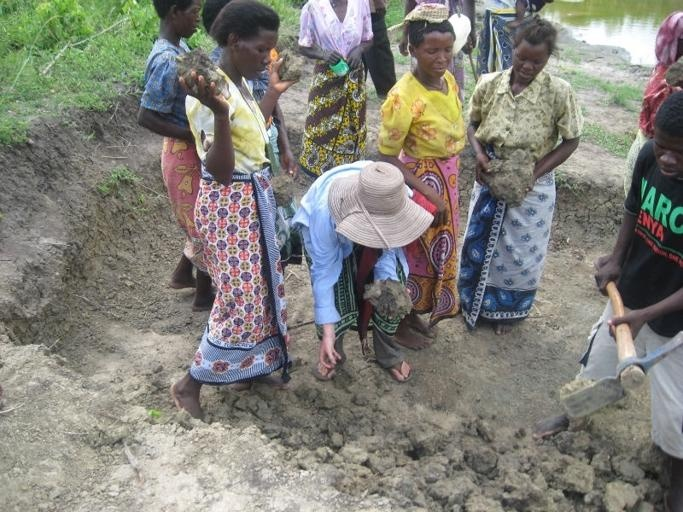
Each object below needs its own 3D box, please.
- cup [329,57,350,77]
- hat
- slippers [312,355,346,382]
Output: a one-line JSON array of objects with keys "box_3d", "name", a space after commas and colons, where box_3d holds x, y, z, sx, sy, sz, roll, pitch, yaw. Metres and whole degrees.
[{"box_3d": [-0.023, -1.766, 7.374, 0.088, 0.086, 0.151, -40, 24, 5], "name": "cup"}, {"box_3d": [0.241, -0.316, 5.387, 0.543, 0.293, 0.638, -14, 53, -19], "name": "hat"}, {"box_3d": [-0.117, 0.860, 6.067, 0.111, 0.331, 0.133, 28, 82, 22], "name": "slippers"}]
